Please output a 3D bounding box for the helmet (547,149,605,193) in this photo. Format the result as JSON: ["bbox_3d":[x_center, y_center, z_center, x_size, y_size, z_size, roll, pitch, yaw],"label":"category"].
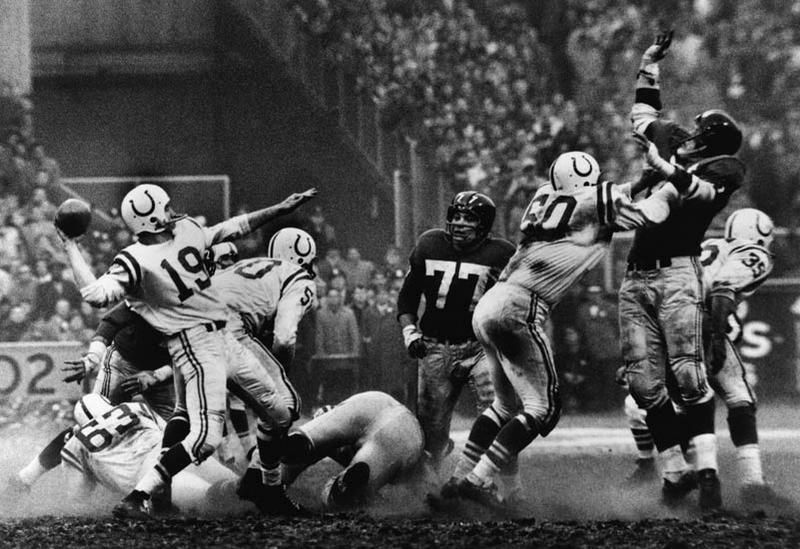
[{"bbox_3d":[1.594,-0.994,14.677,0.451,0.339,0.329,-30,27,0],"label":"helmet"}]

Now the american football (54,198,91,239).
[{"bbox_3d":[-2.995,-0.503,14.564,0.369,0.404,0.353,11,-2,-9],"label":"american football"}]

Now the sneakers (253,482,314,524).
[{"bbox_3d":[-1.020,2.111,14.504,0.710,0.274,0.230,4,-5,-6],"label":"sneakers"}]

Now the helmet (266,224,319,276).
[{"bbox_3d":[-1.074,-0.266,15.603,0.517,0.506,0.386,-6,8,-8],"label":"helmet"}]

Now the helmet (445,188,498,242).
[{"bbox_3d":[0.620,-0.574,15.049,0.405,0.465,0.507,11,-2,31],"label":"helmet"}]

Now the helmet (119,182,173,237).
[{"bbox_3d":[-2.365,-0.621,14.603,0.516,0.414,0.379,-10,19,-7],"label":"helmet"}]
